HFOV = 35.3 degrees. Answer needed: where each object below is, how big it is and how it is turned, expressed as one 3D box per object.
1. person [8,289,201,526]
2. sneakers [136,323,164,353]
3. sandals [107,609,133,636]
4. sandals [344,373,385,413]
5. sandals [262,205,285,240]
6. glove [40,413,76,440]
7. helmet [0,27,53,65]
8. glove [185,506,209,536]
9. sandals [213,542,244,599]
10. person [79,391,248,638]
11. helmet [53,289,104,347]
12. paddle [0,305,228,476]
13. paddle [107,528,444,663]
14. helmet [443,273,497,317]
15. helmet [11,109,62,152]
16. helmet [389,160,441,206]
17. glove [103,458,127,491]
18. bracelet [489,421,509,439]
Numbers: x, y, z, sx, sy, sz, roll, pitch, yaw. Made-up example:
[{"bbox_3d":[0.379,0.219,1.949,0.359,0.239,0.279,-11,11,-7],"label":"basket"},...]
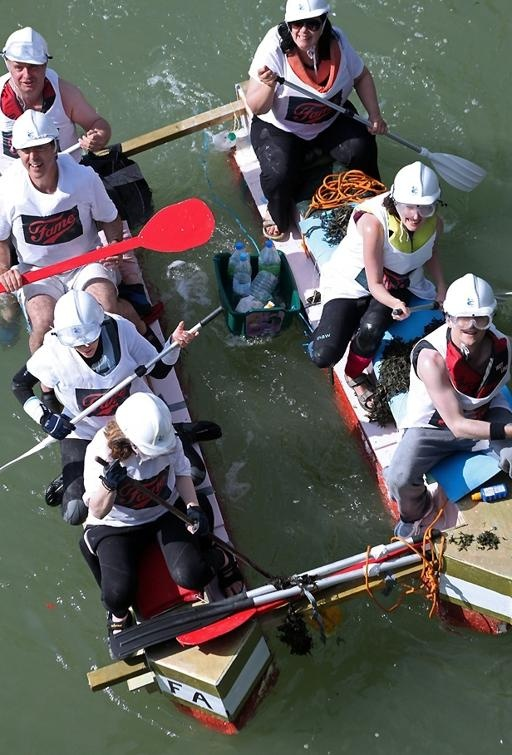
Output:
[{"bbox_3d":[-0.796,0.112,4.517,1.067,1.371,0.917,-6,51,0],"label":"person"},{"bbox_3d":[-0.681,-0.265,5.554,0.063,0.245,0.130,-39,45,18],"label":"sneakers"},{"bbox_3d":[-0.743,1.327,4.362,0.090,0.197,0.093,-2,8,-6],"label":"sandals"},{"bbox_3d":[0.703,0.084,5.269,0.127,0.086,0.305,-35,69,11],"label":"sandals"},{"bbox_3d":[0.136,-1.197,6.257,0.136,0.100,0.318,-2,49,2],"label":"sandals"},{"bbox_3d":[-1.166,0.269,4.714,0.188,0.138,0.085,21,57,44],"label":"glove"},{"bbox_3d":[-1.515,-2.189,5.322,0.294,0.159,0.292,3,31,-19],"label":"helmet"},{"bbox_3d":[-0.312,0.723,4.141,0.067,0.117,0.152,-46,71,12],"label":"glove"},{"bbox_3d":[-0.151,1.109,4.598,0.132,0.346,0.161,-15,12,-11],"label":"sandals"},{"bbox_3d":[-0.514,0.712,4.243,0.924,1.270,0.735,-16,34,-29],"label":"person"},{"bbox_3d":[-0.904,-0.312,4.297,0.258,0.256,0.294,-10,37,-3],"label":"helmet"},{"bbox_3d":[-0.829,0.111,4.814,2.008,0.176,0.187,-30,48,-4],"label":"paddle"},{"bbox_3d":[0.105,1.222,4.398,2.368,0.243,0.308,-15,63,-13],"label":"paddle"},{"bbox_3d":[1.085,-0.391,4.115,0.235,0.198,0.238,-13,41,3],"label":"helmet"},{"bbox_3d":[-1.293,-1.444,4.707,0.229,0.165,0.283,-6,34,-6],"label":"helmet"},{"bbox_3d":[0.916,-1.074,4.577,0.240,0.179,0.273,2,40,2],"label":"helmet"},{"bbox_3d":[-0.676,0.470,3.838,0.120,0.131,0.146,3,-5,-26],"label":"glove"},{"bbox_3d":[1.272,0.281,4.235,0.090,0.086,0.080,4,71,13],"label":"bracelet"}]
